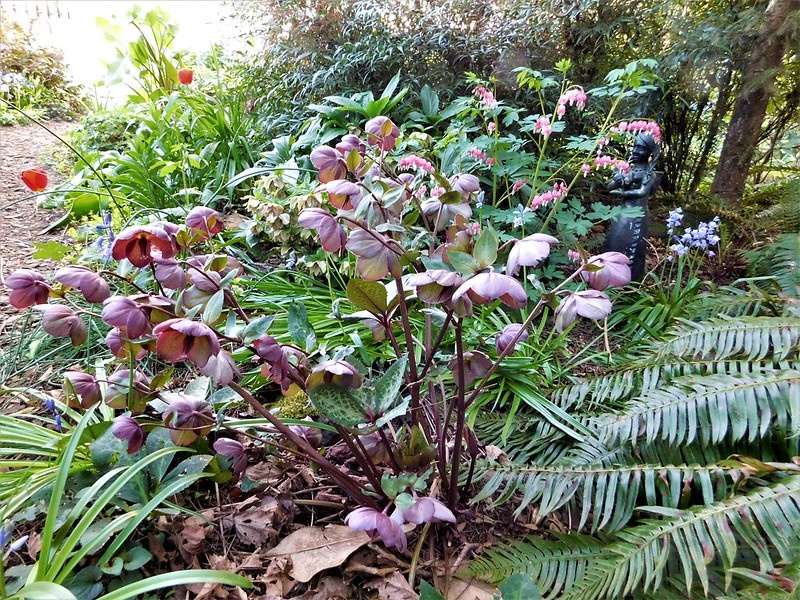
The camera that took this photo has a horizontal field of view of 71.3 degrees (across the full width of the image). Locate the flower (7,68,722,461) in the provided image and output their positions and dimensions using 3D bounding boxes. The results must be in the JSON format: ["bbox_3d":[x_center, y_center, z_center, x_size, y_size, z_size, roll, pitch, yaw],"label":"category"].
[{"bbox_3d":[-0.316,-0.049,2.665,1.979,0.982,2.012,-3,13,6],"label":"flower"}]
